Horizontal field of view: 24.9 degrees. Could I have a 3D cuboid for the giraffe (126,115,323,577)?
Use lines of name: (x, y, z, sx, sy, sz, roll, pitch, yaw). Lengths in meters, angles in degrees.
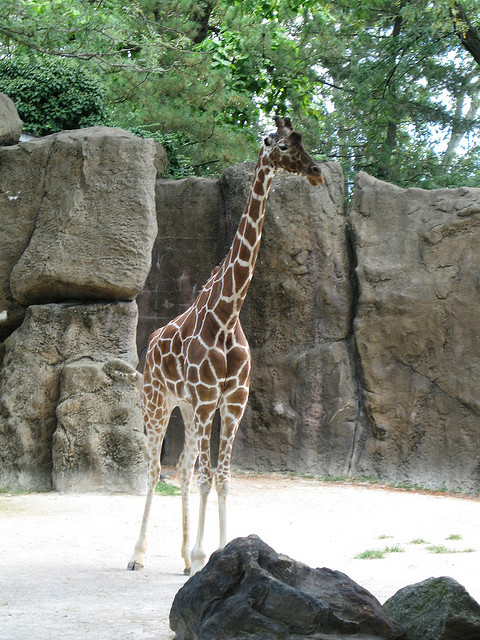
giraffe: (-0.227, 0.169, 8.113, 0.712, 3.228, 1.609, 6, -1, -28)
